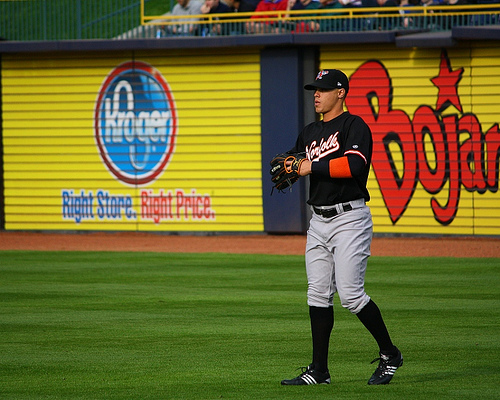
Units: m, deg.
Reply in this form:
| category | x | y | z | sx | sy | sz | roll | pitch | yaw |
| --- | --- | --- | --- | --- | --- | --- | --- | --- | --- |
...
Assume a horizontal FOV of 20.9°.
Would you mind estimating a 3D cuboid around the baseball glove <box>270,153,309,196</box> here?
| category | x | y | z | sx | sy | sz | roll | pitch | yaw |
| --- | --- | --- | --- | --- | --- | --- | --- | --- | --- |
| baseball glove | 0.556 | -0.402 | 19.470 | 0.591 | 0.549 | 0.331 | 2 | 8 | 19 |

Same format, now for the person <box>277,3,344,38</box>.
| category | x | y | z | sx | sy | sz | roll | pitch | yaw |
| --- | --- | --- | --- | --- | --- | --- | --- | --- | --- |
| person | 1.178 | -3.591 | 27.185 | 1.322 | 0.673 | 0.951 | 0 | 8 | 4 |
